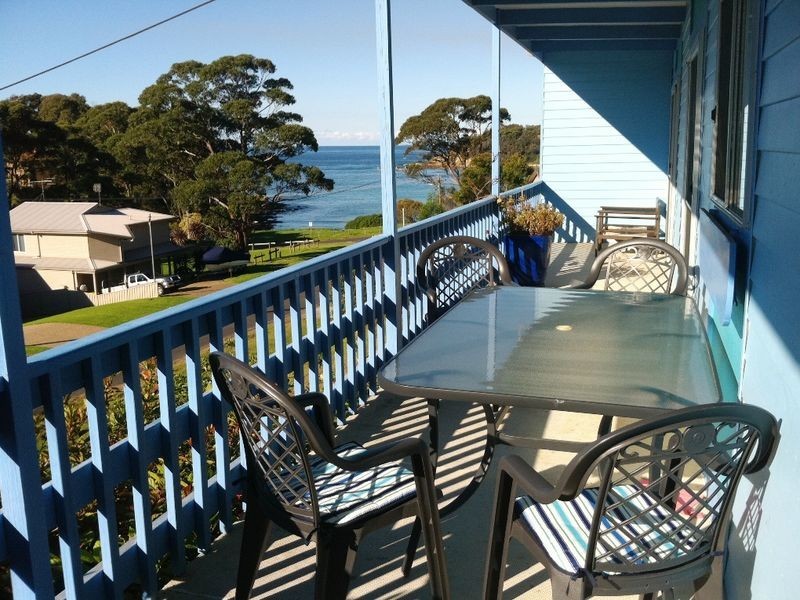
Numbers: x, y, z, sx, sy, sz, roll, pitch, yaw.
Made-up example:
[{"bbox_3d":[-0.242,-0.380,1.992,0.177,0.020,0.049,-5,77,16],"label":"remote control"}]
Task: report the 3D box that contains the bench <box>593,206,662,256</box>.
[{"bbox_3d":[3.596,-1.118,10.258,0.921,0.925,1.697,7,10,22],"label":"bench"}]
